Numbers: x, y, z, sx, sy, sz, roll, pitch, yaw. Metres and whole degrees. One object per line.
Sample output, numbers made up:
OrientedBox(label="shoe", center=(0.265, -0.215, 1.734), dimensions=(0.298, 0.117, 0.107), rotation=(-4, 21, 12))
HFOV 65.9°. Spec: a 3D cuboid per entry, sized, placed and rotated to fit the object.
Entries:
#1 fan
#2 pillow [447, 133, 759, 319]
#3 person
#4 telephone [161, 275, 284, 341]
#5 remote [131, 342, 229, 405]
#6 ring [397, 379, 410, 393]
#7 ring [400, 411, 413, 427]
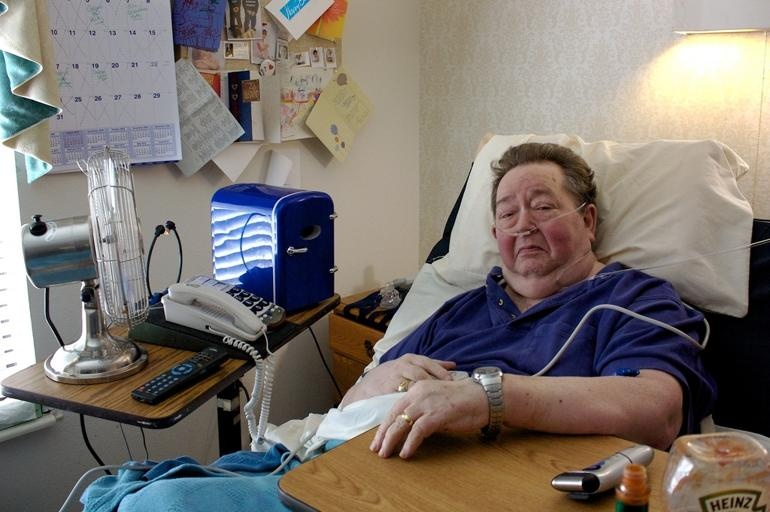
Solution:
OrientedBox(label="fan", center=(-0.806, 0.034, 1.644), dimensions=(0.339, 0.552, 0.408), rotation=(-5, 4, 3))
OrientedBox(label="pillow", center=(0.740, -0.131, 2.082), dimensions=(0.882, 0.664, 0.239), rotation=(5, -22, 25))
OrientedBox(label="person", center=(0.338, 0.195, 1.774), dimensions=(1.142, 0.896, 0.812), rotation=(-17, -32, 40))
OrientedBox(label="telephone", center=(-0.485, 0.147, 1.813), dimensions=(0.320, 0.112, 0.235), rotation=(12, 16, 6))
OrientedBox(label="remote", center=(-0.538, 0.318, 1.593), dimensions=(0.092, 0.064, 0.280), rotation=(6, 17, 29))
OrientedBox(label="ring", center=(0.052, 0.352, 1.607), dimensions=(0.018, 0.035, 0.026), rotation=(20, -6, -34))
OrientedBox(label="ring", center=(0.048, 0.368, 1.340), dimensions=(0.023, 0.024, 0.024), rotation=(-38, 15, 12))
